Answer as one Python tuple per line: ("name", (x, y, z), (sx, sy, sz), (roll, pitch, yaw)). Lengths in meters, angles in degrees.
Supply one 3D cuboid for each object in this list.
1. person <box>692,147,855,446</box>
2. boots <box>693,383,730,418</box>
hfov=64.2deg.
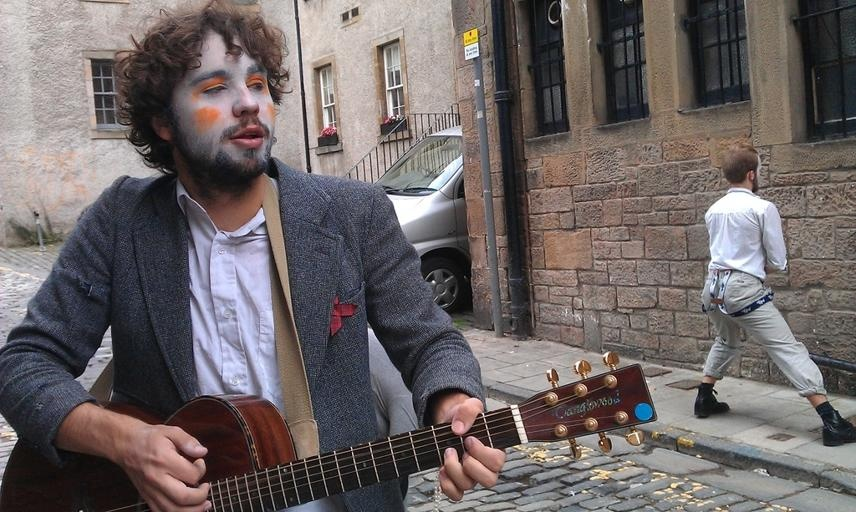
("person", (3.007, 0.257, 6.098), (1.089, 2.444, 1.012), (3, 14, 31))
("boots", (2.695, 1.336, 6.481), (0.462, 0.298, 0.194), (1, 0, -41))
